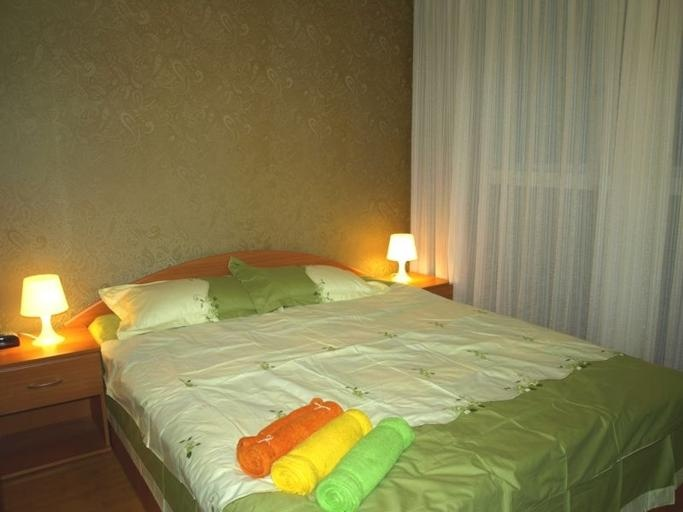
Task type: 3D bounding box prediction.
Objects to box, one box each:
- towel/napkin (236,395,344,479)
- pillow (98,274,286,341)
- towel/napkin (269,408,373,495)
[{"bbox_3d":[-0.217,0.730,2.144,0.203,0.156,0.438,5,15,41],"label":"towel/napkin"},{"bbox_3d":[-1.098,0.250,3.385,0.763,0.158,0.487,-8,22,-27],"label":"pillow"},{"bbox_3d":[-0.053,0.801,2.083,0.178,0.165,0.466,27,34,31],"label":"towel/napkin"}]
